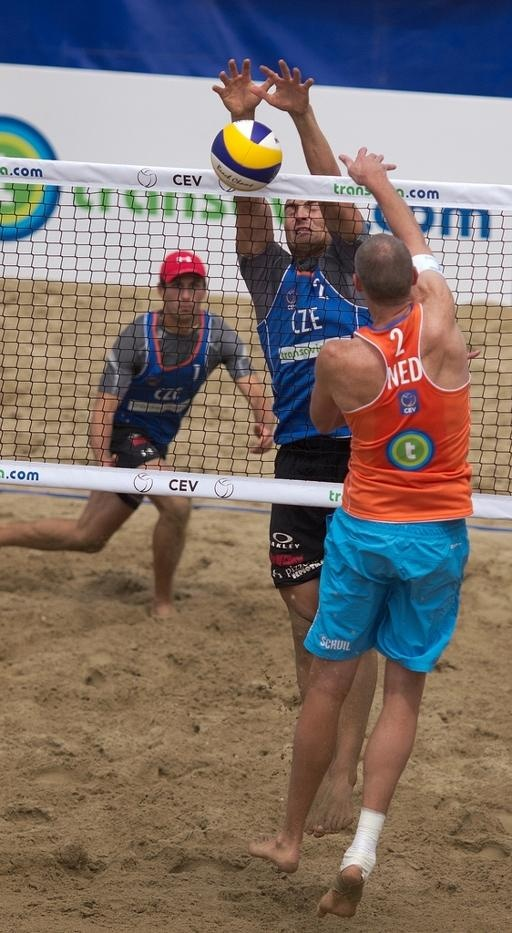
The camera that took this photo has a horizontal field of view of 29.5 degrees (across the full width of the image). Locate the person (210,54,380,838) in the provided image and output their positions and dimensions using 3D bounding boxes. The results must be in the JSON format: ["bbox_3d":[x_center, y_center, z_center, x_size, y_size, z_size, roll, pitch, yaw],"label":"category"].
[{"bbox_3d":[0.056,-0.105,3.396,0.726,2.214,0.915,2,4,32],"label":"person"}]

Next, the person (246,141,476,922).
[{"bbox_3d":[0.313,0.216,2.782,0.510,1.961,0.778,6,0,-23],"label":"person"}]

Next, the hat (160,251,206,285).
[{"bbox_3d":[-0.320,-0.846,4.167,0.187,0.156,0.198,3,8,-6],"label":"hat"}]

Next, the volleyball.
[{"bbox_3d":[-0.032,-1.011,3.257,0.205,0.244,0.185,0,14,-15],"label":"volleyball"}]
